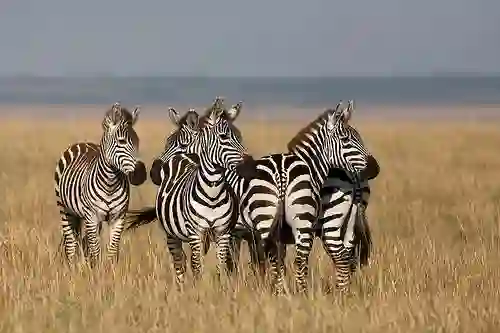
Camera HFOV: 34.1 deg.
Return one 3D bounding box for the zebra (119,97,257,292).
[{"bbox_3d":[-1.129,0.572,15.073,1.348,3.617,5.000,1,-2,-25],"label":"zebra"}]
